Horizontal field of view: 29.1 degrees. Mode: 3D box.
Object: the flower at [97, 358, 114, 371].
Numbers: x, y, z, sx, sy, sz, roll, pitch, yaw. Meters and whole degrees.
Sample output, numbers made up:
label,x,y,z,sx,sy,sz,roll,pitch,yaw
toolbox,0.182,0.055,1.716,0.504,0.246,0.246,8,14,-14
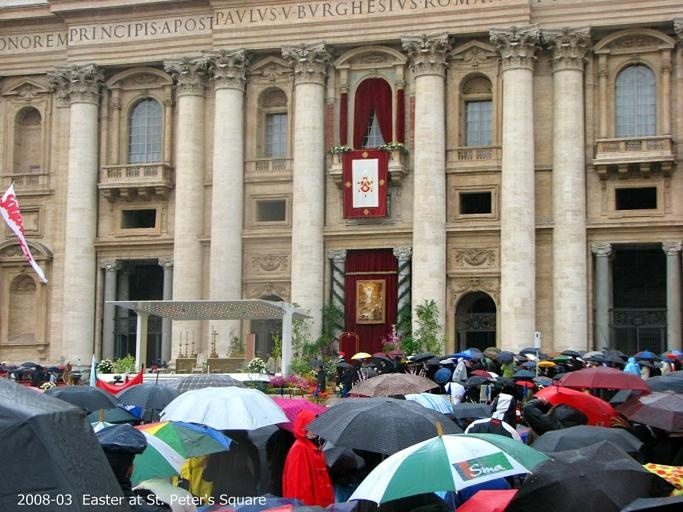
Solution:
label,x,y,z,sx,sy,sz,roll,pitch,yaw
flower,-10.431,4.766,57.981,0.722,0.407,0.612,-3,-4,15
